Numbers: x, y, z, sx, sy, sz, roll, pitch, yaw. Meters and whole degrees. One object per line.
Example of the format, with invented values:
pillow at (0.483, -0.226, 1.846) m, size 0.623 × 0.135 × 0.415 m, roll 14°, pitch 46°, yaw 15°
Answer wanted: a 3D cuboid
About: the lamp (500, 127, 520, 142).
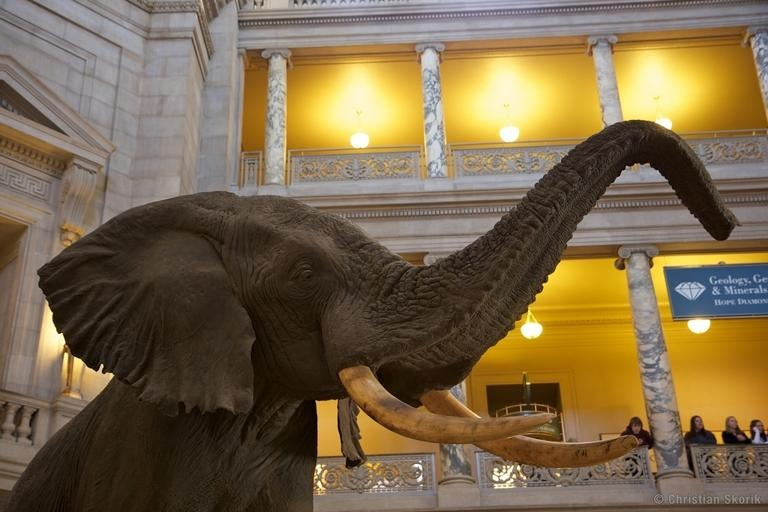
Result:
lamp at (2.545, -2.392, 12.654) m, size 0.446 × 0.283 × 0.422 m, roll -1°, pitch -15°, yaw 1°
